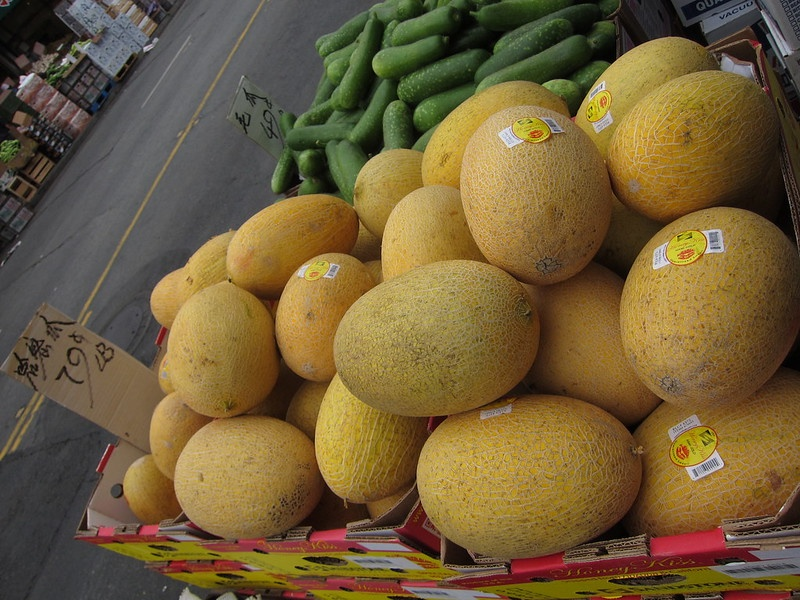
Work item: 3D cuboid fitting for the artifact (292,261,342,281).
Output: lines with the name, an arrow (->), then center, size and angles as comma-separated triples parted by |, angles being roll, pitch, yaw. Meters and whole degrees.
artifact -> -0.315, -0.114, 2.494 | 0.111, 0.076, 0.094 | -3, 24, 26

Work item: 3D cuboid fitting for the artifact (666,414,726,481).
artifact -> 0.913, 0.455, 2.015 | 0.143, 0.045, 0.203 | -34, 35, 17

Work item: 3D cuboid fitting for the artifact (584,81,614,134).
artifact -> 0.744, -0.707, 2.467 | 0.116, 0.092, 0.178 | 2, 78, 51
